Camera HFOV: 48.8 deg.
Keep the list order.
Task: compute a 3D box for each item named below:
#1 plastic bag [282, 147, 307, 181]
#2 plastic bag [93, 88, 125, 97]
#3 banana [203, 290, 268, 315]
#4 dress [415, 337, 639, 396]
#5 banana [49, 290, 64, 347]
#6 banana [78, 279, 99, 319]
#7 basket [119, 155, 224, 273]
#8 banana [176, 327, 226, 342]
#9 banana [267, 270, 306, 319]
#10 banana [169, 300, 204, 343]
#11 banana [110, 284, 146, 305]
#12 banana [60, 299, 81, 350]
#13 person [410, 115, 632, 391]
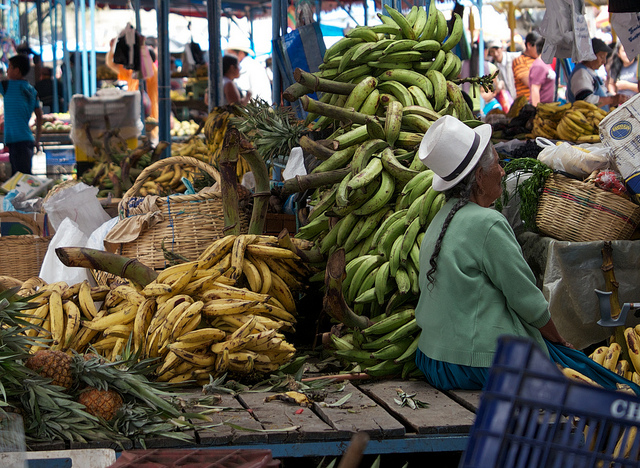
[{"bbox_3d":[-0.204,-0.546,5.582,0.083,0.298,0.203,14,-3,-43],"label":"plastic bag"},{"bbox_3d":[-2.320,-1.550,7.736,0.206,0.082,0.211,-6,19,-2],"label":"plastic bag"},{"bbox_3d":[-0.499,0.379,4.019,0.287,0.110,0.150,-5,-3,3],"label":"banana"},{"bbox_3d":[1.074,0.731,3.821,1.176,0.340,0.244,5,9,19],"label":"dress"},{"bbox_3d":[-1.482,0.488,3.949,0.050,0.274,0.092,-12,-30,9],"label":"banana"},{"bbox_3d":[-1.362,0.370,4.171,0.079,0.301,0.093,-19,-15,19],"label":"banana"},{"bbox_3d":[-0.977,-0.114,4.969,0.650,0.946,0.498,-3,14,-1],"label":"basket"},{"bbox_3d":[-0.664,0.555,3.861,0.186,0.056,0.070,-5,-3,-17],"label":"banana"},{"bbox_3d":[-0.241,0.394,4.555,0.235,0.234,0.218,-2,11,-5],"label":"banana"},{"bbox_3d":[-0.766,0.494,3.902,0.094,0.167,0.452,18,13,4],"label":"banana"},{"bbox_3d":[-1.114,0.360,4.115,0.098,0.077,0.317,-5,11,-39],"label":"banana"},{"bbox_3d":[-1.434,0.517,4.052,0.107,0.244,0.226,-1,9,-19],"label":"banana"},{"bbox_3d":[1.162,0.209,4.118,1.225,1.735,0.783,0,8,-12],"label":"person"}]
